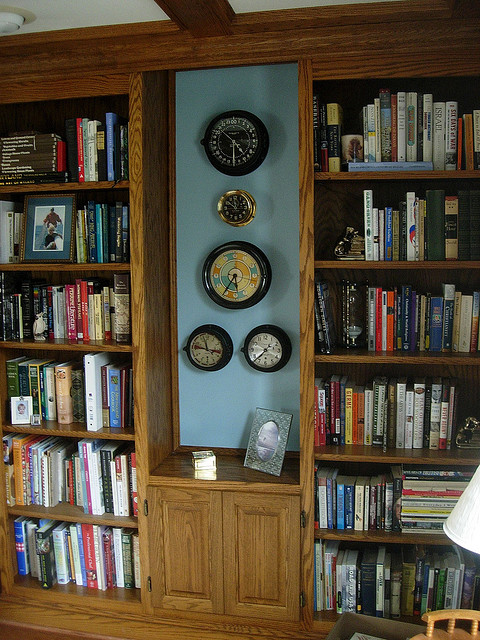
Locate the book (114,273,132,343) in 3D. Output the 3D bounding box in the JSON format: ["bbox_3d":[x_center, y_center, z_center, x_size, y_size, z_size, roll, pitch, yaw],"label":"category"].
[{"bbox_3d":[-0.477,-0.044,2.451,0.056,0.217,0.214,1,-88,-7],"label":"book"}]

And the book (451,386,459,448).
[{"bbox_3d":[0.792,0.361,2.239,0.032,0.192,0.207,3,-72,17],"label":"book"}]

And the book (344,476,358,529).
[{"bbox_3d":[0.415,0.703,2.285,0.063,0.172,0.155,0,-85,9],"label":"book"}]

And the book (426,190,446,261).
[{"bbox_3d":[0.693,-0.340,2.147,0.078,0.232,0.214,-2,-82,10],"label":"book"}]

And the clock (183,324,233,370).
[{"bbox_3d":[-0.137,0.125,2.585,0.217,0.070,0.196,4,-81,28],"label":"clock"}]

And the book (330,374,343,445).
[{"bbox_3d":[0.366,0.358,2.330,0.046,0.187,0.183,2,-87,6],"label":"book"}]

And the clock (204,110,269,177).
[{"bbox_3d":[-0.032,-0.717,2.451,0.266,0.061,0.243,4,-81,16],"label":"clock"}]

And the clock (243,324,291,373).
[{"bbox_3d":[0.104,0.124,2.516,0.204,0.047,0.187,4,-82,17],"label":"clock"}]

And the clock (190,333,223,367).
[{"bbox_3d":[-0.150,0.131,2.574,0.136,0.057,0.138,14,-66,-8],"label":"clock"}]

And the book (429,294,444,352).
[{"bbox_3d":[0.718,0.011,2.222,0.041,0.164,0.155,1,-84,11],"label":"book"}]

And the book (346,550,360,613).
[{"bbox_3d":[0.423,1.006,2.290,0.062,0.165,0.148,1,-73,13],"label":"book"}]

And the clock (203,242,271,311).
[{"bbox_3d":[-0.017,-0.184,2.507,0.291,0.065,0.266,3,-83,18],"label":"clock"}]

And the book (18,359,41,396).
[{"bbox_3d":[-0.919,0.258,2.621,0.057,0.144,0.141,2,-95,-3],"label":"book"}]

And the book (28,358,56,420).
[{"bbox_3d":[-0.860,0.312,2.609,0.090,0.245,0.224,0,-87,0],"label":"book"}]

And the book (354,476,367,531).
[{"bbox_3d":[0.454,0.704,2.298,0.035,0.141,0.134,0,-92,17],"label":"book"}]

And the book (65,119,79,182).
[{"bbox_3d":[-0.679,-0.681,2.437,0.050,0.203,0.192,-1,-92,-7],"label":"book"}]

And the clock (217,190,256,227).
[{"bbox_3d":[-0.017,-0.456,2.492,0.154,0.035,0.141,9,-80,14],"label":"clock"}]

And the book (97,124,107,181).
[{"bbox_3d":[-0.550,-0.660,2.397,0.042,0.169,0.162,2,-83,-6],"label":"book"}]

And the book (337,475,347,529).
[{"bbox_3d":[0.386,0.705,2.310,0.034,0.139,0.131,-1,-91,17],"label":"book"}]

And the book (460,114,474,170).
[{"bbox_3d":[0.791,-0.625,2.113,0.030,0.189,0.244,-2,-82,13],"label":"book"}]

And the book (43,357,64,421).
[{"bbox_3d":[-0.807,0.311,2.597,0.077,0.226,0.203,0,-78,-4],"label":"book"}]

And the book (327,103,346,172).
[{"bbox_3d":[0.345,-0.659,2.206,0.097,0.259,0.236,-1,-79,6],"label":"book"}]

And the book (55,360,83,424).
[{"bbox_3d":[-0.731,0.317,2.571,0.099,0.263,0.241,-1,-89,-4],"label":"book"}]

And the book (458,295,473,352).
[{"bbox_3d":[0.814,0.018,2.190,0.037,0.147,0.143,5,-83,19],"label":"book"}]
